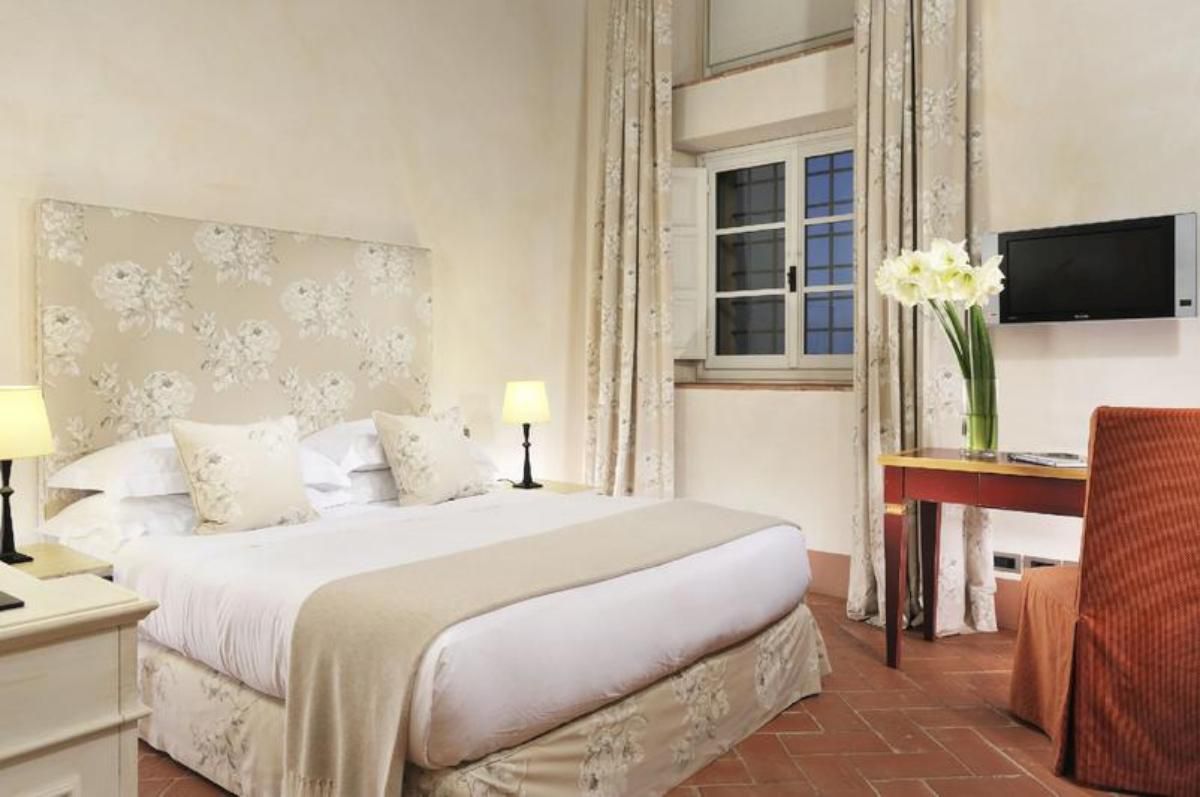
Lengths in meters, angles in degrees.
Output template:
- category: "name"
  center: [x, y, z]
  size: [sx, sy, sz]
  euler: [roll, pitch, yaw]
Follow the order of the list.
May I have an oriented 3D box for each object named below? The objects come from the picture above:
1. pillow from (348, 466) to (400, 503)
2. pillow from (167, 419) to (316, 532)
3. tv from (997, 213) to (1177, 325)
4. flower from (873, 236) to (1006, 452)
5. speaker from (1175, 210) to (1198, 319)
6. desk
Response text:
- category: "pillow"
  center: [-1.180, 0.459, 4.411]
  size: [0.186, 0.092, 0.193]
  euler: [4, 8, 29]
- category: "pillow"
  center: [-1.633, 0.367, 3.946]
  size: [0.311, 0.524, 0.609]
  euler: [7, 7, 39]
- category: "tv"
  center: [2.490, -0.631, 4.383]
  size: [0.800, 0.516, 0.091]
  euler: [-1, -10, 27]
- category: "flower"
  center: [1.738, -0.267, 4.274]
  size: [0.537, 1.076, 0.716]
  euler: [-1, 4, 26]
- category: "speaker"
  center: [2.870, -0.650, 4.119]
  size: [0.107, 0.505, 0.056]
  euler: [-2, 4, 8]
- category: "desk"
  center: [1.924, 0.729, 4.018]
  size: [1.026, 0.840, 0.658]
  euler: [1, 2, 39]
